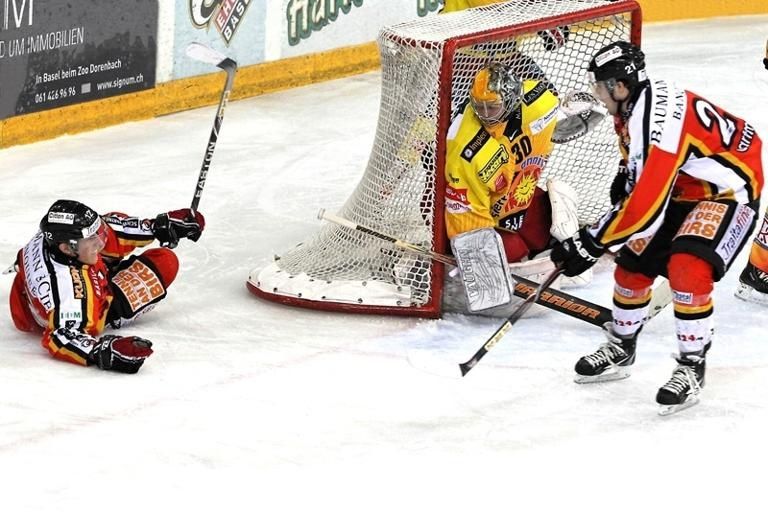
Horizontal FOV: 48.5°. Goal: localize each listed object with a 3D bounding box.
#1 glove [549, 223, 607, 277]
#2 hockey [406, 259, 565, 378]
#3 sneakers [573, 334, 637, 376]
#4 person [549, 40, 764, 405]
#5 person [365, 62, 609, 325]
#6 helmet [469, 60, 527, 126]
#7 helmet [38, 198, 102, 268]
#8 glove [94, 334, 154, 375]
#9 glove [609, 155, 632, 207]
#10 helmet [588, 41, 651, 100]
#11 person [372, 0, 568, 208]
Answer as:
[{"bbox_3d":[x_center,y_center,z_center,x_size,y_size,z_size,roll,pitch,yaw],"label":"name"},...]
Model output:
[{"bbox_3d":[0.799,-0.023,3.520,0.268,0.101,0.169,-28,47,21],"label":"glove"},{"bbox_3d":[0.468,0.294,3.970,0.707,0.105,0.117,-45,36,-23],"label":"hockey"},{"bbox_3d":[0.955,0.419,3.705,0.351,0.160,0.117,-8,22,-36],"label":"sneakers"},{"bbox_3d":[1.121,-0.152,3.504,0.664,1.439,0.562,-19,22,-38],"label":"person"},{"bbox_3d":[0.462,-0.282,4.093,1.199,1.032,0.704,-40,61,-15],"label":"person"},{"bbox_3d":[0.527,-0.749,3.923,0.260,0.281,0.191,-5,16,-3],"label":"helmet"},{"bbox_3d":[-1.345,-0.103,3.762,0.315,0.198,0.193,5,26,9],"label":"helmet"},{"bbox_3d":[-1.104,0.413,3.628,0.263,0.090,0.167,9,8,17],"label":"glove"},{"bbox_3d":[0.986,-0.319,3.578,0.109,0.198,0.087,11,4,32],"label":"glove"},{"bbox_3d":[0.927,-0.744,3.423,0.291,0.210,0.202,3,28,28],"label":"helmet"},{"bbox_3d":[0.427,-0.714,4.109,1.078,0.763,0.601,-30,43,-29],"label":"person"}]
